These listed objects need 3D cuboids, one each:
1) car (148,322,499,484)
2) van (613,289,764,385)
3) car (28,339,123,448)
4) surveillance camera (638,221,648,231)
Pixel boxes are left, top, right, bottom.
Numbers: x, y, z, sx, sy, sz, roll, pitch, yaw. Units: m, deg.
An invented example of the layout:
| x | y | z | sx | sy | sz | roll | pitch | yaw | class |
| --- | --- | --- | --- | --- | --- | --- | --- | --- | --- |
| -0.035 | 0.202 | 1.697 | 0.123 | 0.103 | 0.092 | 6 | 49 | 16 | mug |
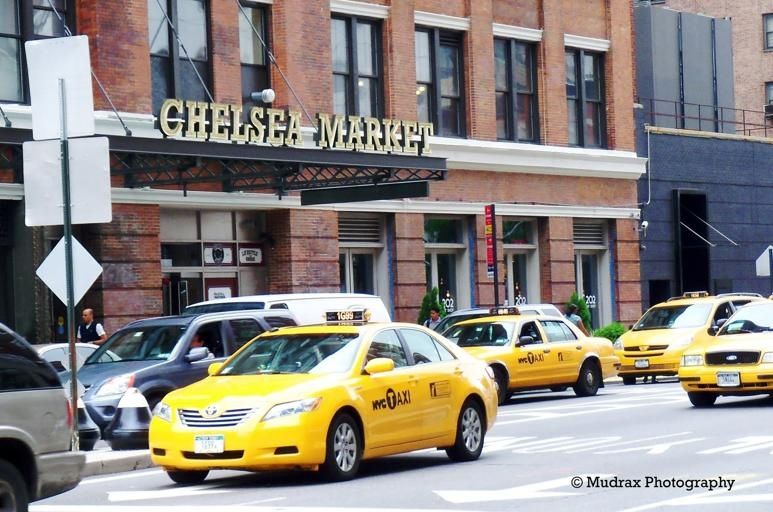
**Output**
| x | y | z | sx | sy | sz | roll | pitch | yaw | class |
| --- | --- | --- | --- | --- | --- | --- | --- | --- | --- |
| -0.597 | 2.498 | 21.580 | 2.639 | 1.681 | 4.891 | -7 | -9 | 40 | car |
| 7.474 | 2.095 | 33.909 | 2.170 | 1.868 | 4.024 | -10 | -9 | 42 | van |
| -5.958 | 2.581 | 24.208 | 1.760 | 1.622 | 3.159 | 0 | -5 | 1 | car |
| 9.355 | -1.073 | 46.625 | 0.254 | 0.357 | 0.108 | -1 | 4 | -1 | surveillance camera |
